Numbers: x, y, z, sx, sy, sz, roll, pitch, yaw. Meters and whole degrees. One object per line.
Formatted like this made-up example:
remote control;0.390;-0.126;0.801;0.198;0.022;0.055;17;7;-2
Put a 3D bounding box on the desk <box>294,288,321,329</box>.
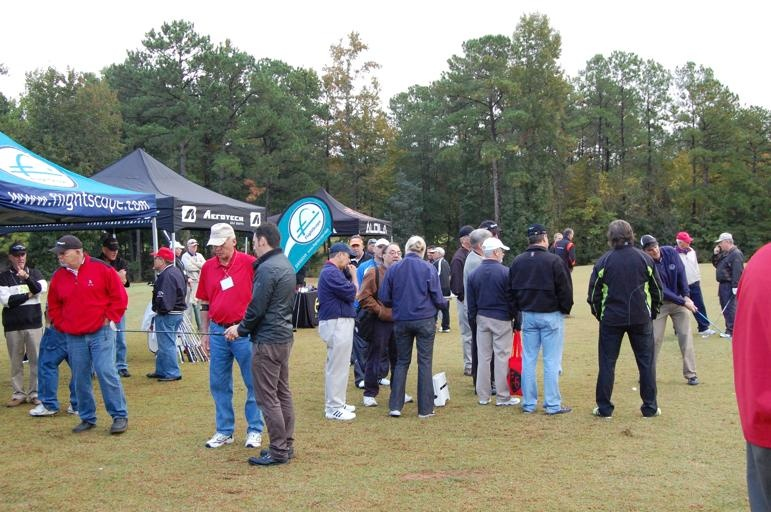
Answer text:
desk;-2.311;1.520;28.631;0.981;1.027;1.385;1;2;12
